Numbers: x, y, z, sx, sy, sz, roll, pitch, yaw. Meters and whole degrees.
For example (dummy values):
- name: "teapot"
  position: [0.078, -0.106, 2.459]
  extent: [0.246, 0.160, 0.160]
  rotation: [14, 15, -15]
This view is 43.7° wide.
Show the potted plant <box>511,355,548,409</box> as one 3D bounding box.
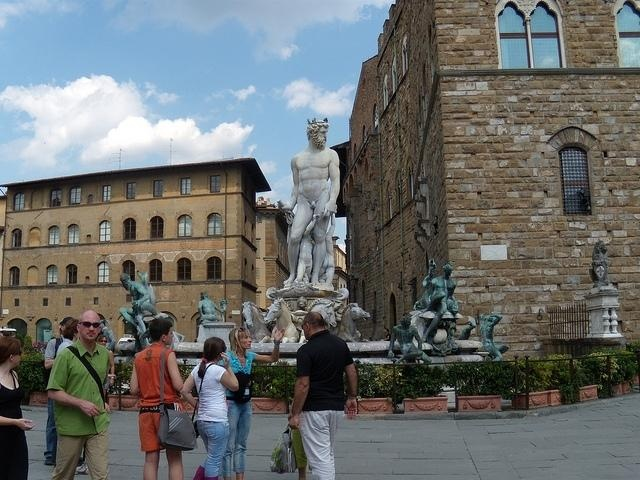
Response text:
- name: "potted plant"
  position: [4.382, 2.881, 16.591]
  extent: [0.901, 1.080, 0.684]
  rotation: [4, 6, -24]

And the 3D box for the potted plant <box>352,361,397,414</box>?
- name: "potted plant"
  position: [0.870, 3.062, 16.360]
  extent: [1.060, 1.185, 0.799]
  rotation: [2, -18, -6]

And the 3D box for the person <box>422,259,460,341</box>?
- name: "person"
  position: [2.692, 1.369, 18.238]
  extent: [0.778, 1.778, 1.151]
  rotation: [-2, 5, 9]

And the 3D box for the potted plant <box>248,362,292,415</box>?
- name: "potted plant"
  position: [-1.030, 3.116, 16.635]
  extent: [0.978, 0.847, 1.158]
  rotation: [1, -12, -3]

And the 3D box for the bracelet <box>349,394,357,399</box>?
- name: "bracelet"
  position: [0.446, 2.207, 11.336]
  extent: [0.075, 0.058, 0.078]
  rotation: [-2, -5, 24]

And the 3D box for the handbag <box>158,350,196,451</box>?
- name: "handbag"
  position: [-1.963, 2.186, 10.821]
  extent: [0.501, 1.289, 0.404]
  rotation: [-3, 5, -2]

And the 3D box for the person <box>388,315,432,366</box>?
- name: "person"
  position: [1.851, 2.060, 16.902]
  extent: [0.826, 1.128, 0.828]
  rotation: [-2, 5, 8]

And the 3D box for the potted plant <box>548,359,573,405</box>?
- name: "potted plant"
  position: [5.114, 2.979, 16.892]
  extent: [0.693, 0.882, 0.302]
  rotation: [-7, 6, -37]

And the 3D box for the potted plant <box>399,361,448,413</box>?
- name: "potted plant"
  position: [2.026, 3.070, 16.388]
  extent: [0.975, 1.004, 0.834]
  rotation: [3, -22, -5]

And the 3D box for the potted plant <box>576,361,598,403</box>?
- name: "potted plant"
  position: [5.743, 3.065, 17.336]
  extent: [0.547, 0.831, 0.256]
  rotation: [-1, -6, 18]

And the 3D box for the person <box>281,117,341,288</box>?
- name: "person"
  position: [-0.205, -0.912, 19.418]
  extent: [1.383, 4.044, 1.090]
  rotation: [-4, 5, -10]

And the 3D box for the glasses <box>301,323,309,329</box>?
- name: "glasses"
  position: [-0.223, 1.200, 11.224]
  extent: [0.079, 0.108, 0.108]
  rotation: [-14, -36, 10]

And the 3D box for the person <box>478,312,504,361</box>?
- name: "person"
  position: [3.693, 2.101, 17.437]
  extent: [0.443, 1.039, 1.555]
  rotation: [-2, 5, 12]

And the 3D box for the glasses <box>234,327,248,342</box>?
- name: "glasses"
  position: [-1.174, 1.373, 11.796]
  extent: [0.155, 0.202, 0.200]
  rotation: [2, 9, -38]

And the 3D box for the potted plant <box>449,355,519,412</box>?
- name: "potted plant"
  position: [3.321, 2.979, 16.331]
  extent: [1.012, 0.748, 0.997]
  rotation: [-2, -13, 11]
